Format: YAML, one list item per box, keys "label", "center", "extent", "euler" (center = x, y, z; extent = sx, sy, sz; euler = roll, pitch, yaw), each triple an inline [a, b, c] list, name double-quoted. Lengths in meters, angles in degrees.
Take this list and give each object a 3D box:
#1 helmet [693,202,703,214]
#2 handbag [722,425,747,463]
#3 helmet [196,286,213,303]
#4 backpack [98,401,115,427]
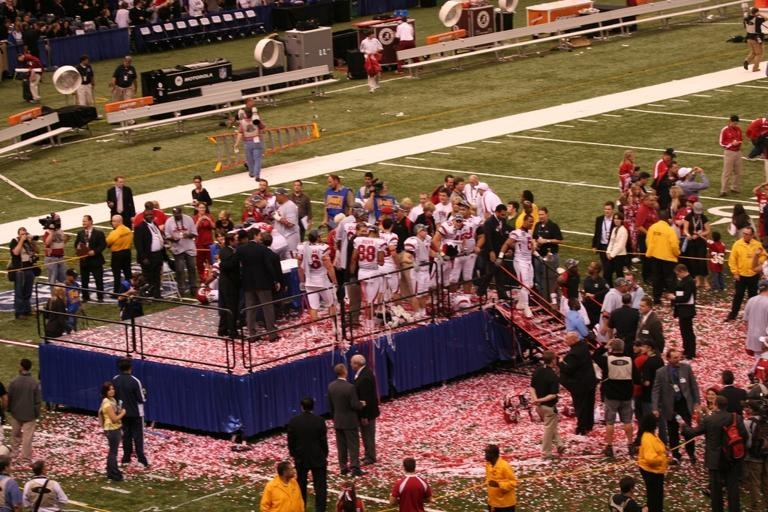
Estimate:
- label: "helmet"
  center: [7.177, -1.102, 29.954]
  extent: [0.243, 0.132, 0.269]
  euler: [1, 34, 4]
- label: "handbag"
  center: [6.267, 3.339, 23.429]
  extent: [0.381, 0.698, 0.167]
  euler: [-6, 10, 5]
- label: "helmet"
  center: [-3.981, 0.897, 29.404]
  extent: [0.290, 0.320, 0.420]
  euler: [-8, 9, -15]
- label: "backpack"
  center: [-5.245, 3.016, 24.807]
  extent: [0.292, 0.506, 0.074]
  euler: [-1, 12, 27]
